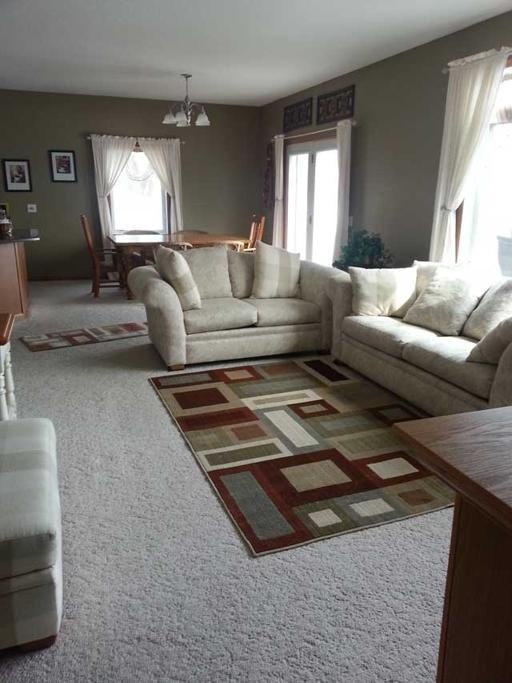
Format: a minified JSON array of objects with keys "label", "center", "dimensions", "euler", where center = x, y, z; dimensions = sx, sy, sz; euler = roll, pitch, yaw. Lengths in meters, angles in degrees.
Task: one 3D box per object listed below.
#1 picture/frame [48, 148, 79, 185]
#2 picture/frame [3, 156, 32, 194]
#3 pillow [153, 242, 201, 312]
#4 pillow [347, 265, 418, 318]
[{"label":"picture/frame","center":[-2.958,-2.702,7.451],"dimensions":[0.529,0.631,0.043],"euler":[-6,18,-27]},{"label":"picture/frame","center":[-3.582,-2.512,7.277],"dimensions":[0.532,0.626,0.046],"euler":[-6,17,-27]},{"label":"pillow","center":[-0.611,-0.494,3.794],"dimensions":[0.204,0.462,0.439],"euler":[-13,19,-36]},{"label":"pillow","center":[0.927,-0.352,3.554],"dimensions":[0.371,0.257,0.140],"euler":[-3,18,-10]}]
